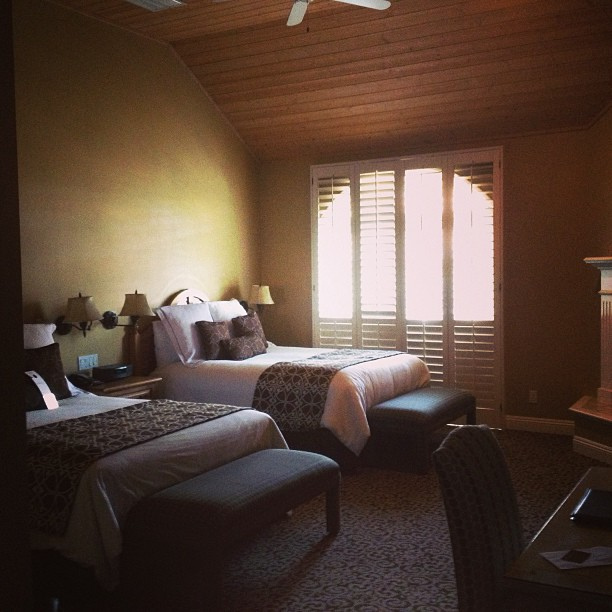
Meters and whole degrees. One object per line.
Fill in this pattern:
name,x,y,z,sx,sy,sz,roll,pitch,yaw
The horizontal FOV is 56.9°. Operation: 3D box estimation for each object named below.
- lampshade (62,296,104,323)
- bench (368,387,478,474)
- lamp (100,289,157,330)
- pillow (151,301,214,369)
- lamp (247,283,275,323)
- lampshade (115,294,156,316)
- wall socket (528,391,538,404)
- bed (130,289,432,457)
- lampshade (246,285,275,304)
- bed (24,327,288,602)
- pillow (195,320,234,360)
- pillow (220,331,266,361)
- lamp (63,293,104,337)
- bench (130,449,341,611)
lampshade,-1.493,0.025,3.793,0.209,0.118,0.193,-4,4,30
bench,0.780,0.904,4.082,0.509,0.494,0.874,0,2,34
lamp,-1.345,0.033,4.276,0.424,0.294,0.242,-3,-4,-5
pillow,-1.020,0.229,4.567,0.561,0.443,0.145,-11,-6,-37
lamp,-0.507,-0.023,5.785,0.311,0.374,0.267,4,11,-23
lampshade,-1.268,-0.007,4.209,0.200,0.122,0.185,-1,0,21
wall socket,1.998,0.801,4.960,0.074,0.108,0.020,-1,2,11
bed,-0.175,0.431,4.641,1.901,0.813,1.560,3,7,27
lampshade,-0.470,-0.126,5.730,0.211,0.124,0.205,0,-3,-14
bed,-1.157,0.604,2.956,1.818,0.743,1.322,2,4,21
pillow,-0.732,0.272,4.515,0.103,0.277,0.344,-20,-12,34
pillow,-0.497,0.327,4.583,0.112,0.173,0.509,-25,-5,16
lamp,-1.529,0.050,3.855,0.261,0.281,0.268,-4,2,45
bench,-0.280,0.929,2.446,0.377,0.371,0.928,0,2,35
